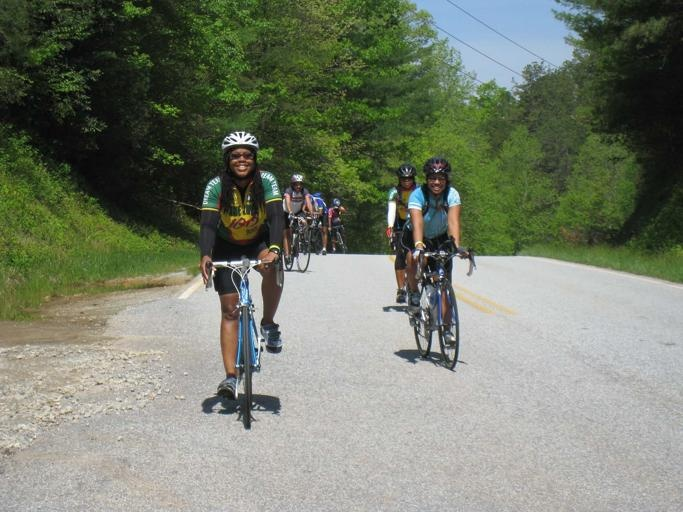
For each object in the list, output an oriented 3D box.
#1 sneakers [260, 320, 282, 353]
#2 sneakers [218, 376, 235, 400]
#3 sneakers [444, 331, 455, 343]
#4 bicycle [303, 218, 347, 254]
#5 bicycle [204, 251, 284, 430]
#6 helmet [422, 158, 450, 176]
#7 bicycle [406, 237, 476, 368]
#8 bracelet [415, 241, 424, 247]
[{"bbox_3d":[-0.708,0.834,6.712,0.123,0.190,0.414,-1,28,-10],"label":"sneakers"},{"bbox_3d":[-1.048,1.210,6.029,0.167,0.185,0.184,0,4,-7],"label":"sneakers"},{"bbox_3d":[1.346,1.002,8.042,0.041,0.142,0.226,-1,5,-23],"label":"sneakers"},{"bbox_3d":[-0.534,-0.821,27.086,1.034,1.466,2.263,-1,-1,-13],"label":"bicycle"},{"bbox_3d":[-0.943,0.738,6.411,0.656,1.533,1.225,0,4,-10],"label":"bicycle"},{"bbox_3d":[1.243,-1.158,8.449,0.323,0.238,0.384,1,5,9],"label":"helmet"},{"bbox_3d":[1.243,0.579,8.359,0.622,1.557,1.110,-1,4,-14],"label":"bicycle"},{"bbox_3d":[0.986,-0.148,8.227,0.093,0.079,0.161,1,5,7],"label":"bracelet"}]
